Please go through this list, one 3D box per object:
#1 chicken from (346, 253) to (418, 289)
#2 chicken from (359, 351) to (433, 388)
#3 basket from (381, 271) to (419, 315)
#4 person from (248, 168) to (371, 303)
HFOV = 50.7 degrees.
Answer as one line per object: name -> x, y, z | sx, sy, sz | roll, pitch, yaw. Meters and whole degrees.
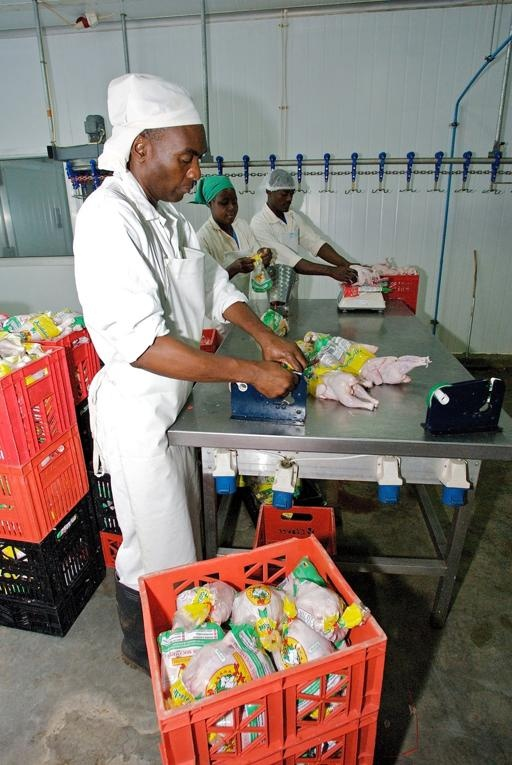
chicken -> 0.696, -0.610, 3.091 | 0.260, 0.138, 0.596 | 21, 31, 36
chicken -> 0.435, -0.061, 1.764 | 0.278, 0.117, 0.092 | 8, 30, 37
basket -> 0.848, -0.547, 3.199 | 0.267, 0.262, 0.167 | 0, -3, 5
person -> 0.301, -0.910, 3.248 | 0.402, 0.587, 0.839 | -24, 40, -34
